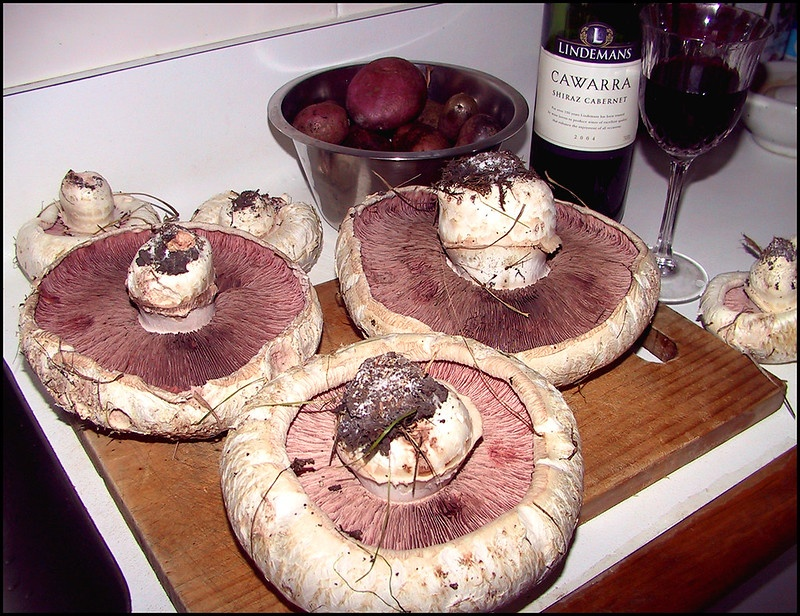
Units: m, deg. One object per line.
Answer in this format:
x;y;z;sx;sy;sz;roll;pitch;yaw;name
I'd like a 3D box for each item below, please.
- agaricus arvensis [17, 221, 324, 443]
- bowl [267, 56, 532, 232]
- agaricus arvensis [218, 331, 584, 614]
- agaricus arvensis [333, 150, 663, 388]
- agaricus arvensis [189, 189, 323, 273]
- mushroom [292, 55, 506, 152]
-0.388;0.059;1.059;0.395;0.183;0.426;12;36;-2;agaricus arvensis
-0.042;-0.362;1.360;0.459;0.184;0.457;2;39;-1;bowl
0.000;0.212;0.881;0.497;0.236;0.397;5;51;9;agaricus arvensis
0.176;-0.026;1.166;0.522;0.216;0.574;-5;18;6;agaricus arvensis
-0.297;-0.200;1.337;0.220;0.090;0.197;36;42;22;agaricus arvensis
-0.015;-0.427;1.389;0.311;0.115;0.309;-12;27;-18;mushroom
